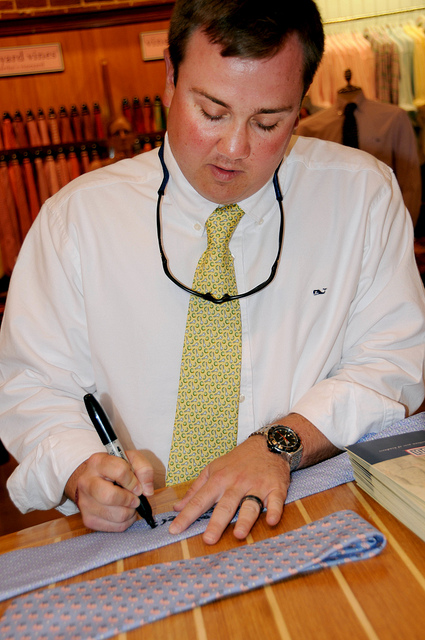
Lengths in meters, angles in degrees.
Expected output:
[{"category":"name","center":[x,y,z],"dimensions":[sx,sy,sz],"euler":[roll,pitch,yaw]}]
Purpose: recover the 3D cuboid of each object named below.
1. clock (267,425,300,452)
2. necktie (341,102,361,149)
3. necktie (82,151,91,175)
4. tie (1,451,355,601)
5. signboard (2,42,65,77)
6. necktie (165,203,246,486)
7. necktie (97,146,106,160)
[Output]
[{"category":"clock","center":[0.128,0.217,0.868],"dimensions":[0.031,0.044,0.045],"euler":[-33,57,-30]},{"category":"necktie","center":[0.902,-1.279,3.133],"dimensions":[0.128,0.254,0.089],"euler":[-6,4,-8]},{"category":"necktie","center":[-0.870,-1.087,3.276],"dimensions":[0.056,0.168,0.139],"euler":[-7,4,-17]},{"category":"tie","center":[0.021,0.195,0.708],"dimensions":[0.610,0.027,0.158],"euler":[-13,9,-35]},{"category":"signboard","center":[-1.260,-1.818,3.322],"dimensions":[0.415,0.162,0.070],"euler":[-6,4,-16]},{"category":"necktie","center":[-0.006,0.033,0.926],"dimensions":[0.125,0.552,0.046],"euler":[5,-11,13]},{"category":"necktie","center":[-0.792,-1.182,3.371],"dimensions":[0.022,0.091,0.056],"euler":[-1,6,44]}]
